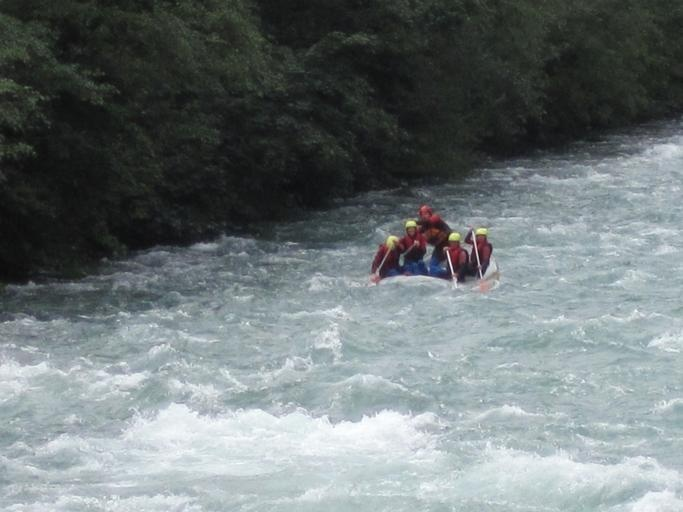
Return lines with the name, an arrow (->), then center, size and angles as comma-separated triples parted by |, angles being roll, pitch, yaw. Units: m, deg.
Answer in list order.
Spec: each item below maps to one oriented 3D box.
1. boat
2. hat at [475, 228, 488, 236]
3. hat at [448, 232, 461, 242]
boat -> 3.174, 0.596, 43.402 | 1.962, 0.736, 2.291 | 4, 8, 40
hat -> 4.103, -0.717, 43.607 | 0.252, 0.231, 0.328 | 3, -10, -45
hat -> 3.329, -0.559, 43.707 | 0.243, 0.241, 0.306 | -1, 39, 25
